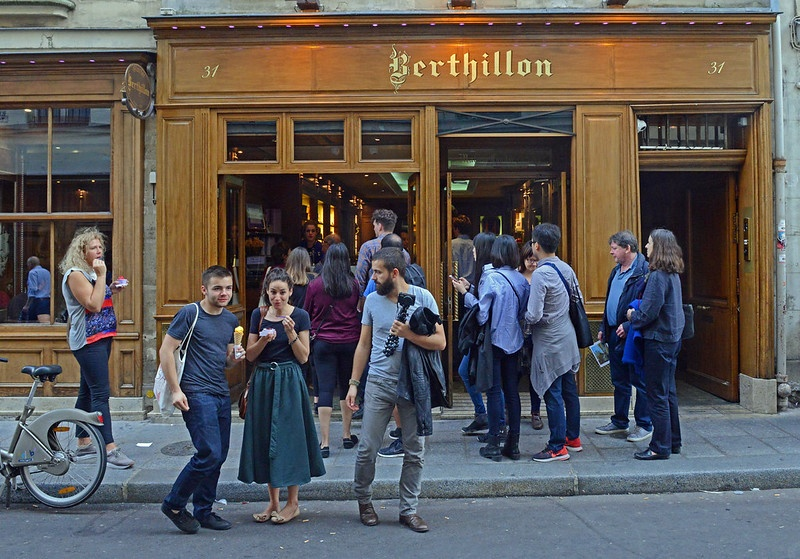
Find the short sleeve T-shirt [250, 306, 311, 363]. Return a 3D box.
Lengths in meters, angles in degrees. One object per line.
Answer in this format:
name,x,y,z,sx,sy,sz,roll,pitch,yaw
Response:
short sleeve T-shirt,-1.279,0.649,10.940,0.852,0.846,0.494,0,-6,1

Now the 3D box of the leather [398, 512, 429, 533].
leather,0.136,2.566,10.594,0.131,0.130,0.343,-1,2,-42

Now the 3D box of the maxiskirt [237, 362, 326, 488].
maxiskirt,-1.272,1.532,10.663,0.882,1.331,0.280,0,1,-8

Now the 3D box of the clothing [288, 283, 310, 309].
clothing,-1.231,0.168,12.436,0.311,0.452,0.238,3,3,-5

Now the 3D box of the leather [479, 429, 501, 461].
leather,1.079,1.991,11.868,0.147,0.279,0.383,0,5,-21

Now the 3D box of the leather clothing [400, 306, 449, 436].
leather clothing,0.243,0.959,10.572,0.561,1.363,0.279,0,1,-13

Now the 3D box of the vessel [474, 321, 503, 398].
vessel,0.980,0.913,11.813,0.230,0.802,0.174,0,1,4

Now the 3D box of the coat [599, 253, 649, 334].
coat,2.770,0.164,12.383,0.310,0.936,0.664,9,-7,-37

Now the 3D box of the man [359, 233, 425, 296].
man,-0.094,-0.279,11.905,0.508,0.895,0.801,-1,-15,-9

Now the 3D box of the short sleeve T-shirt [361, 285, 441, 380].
short sleeve T-shirt,0.008,0.572,10.598,0.716,0.922,0.322,15,-3,12

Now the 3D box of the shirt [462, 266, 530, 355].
shirt,1.173,0.358,12.193,0.863,1.246,0.849,-3,7,-13

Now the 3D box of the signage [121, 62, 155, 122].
signage,-3.428,-2.499,13.142,0.200,0.713,0.769,0,1,8

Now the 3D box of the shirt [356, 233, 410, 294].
shirt,-0.201,-0.174,11.505,0.696,0.803,0.429,-3,-10,-9

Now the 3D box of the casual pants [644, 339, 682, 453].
casual pants,3.116,1.372,11.830,0.433,1.344,0.271,-1,1,-16

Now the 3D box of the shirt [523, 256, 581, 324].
shirt,1.802,0.142,11.935,0.857,0.762,0.418,-15,25,-36

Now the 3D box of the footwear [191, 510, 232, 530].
footwear,-2.005,2.562,10.709,0.405,0.174,0.167,3,-1,1

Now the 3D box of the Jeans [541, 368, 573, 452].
Jeans,1.850,1.548,11.798,0.314,0.889,0.158,-1,1,-29

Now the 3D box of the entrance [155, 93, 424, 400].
entrance,-1.471,-0.466,12.604,3.900,4.753,0.309,0,-3,-10

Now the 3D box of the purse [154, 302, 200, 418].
purse,-2.352,0.831,10.573,0.451,1.150,0.229,-1,1,-15
